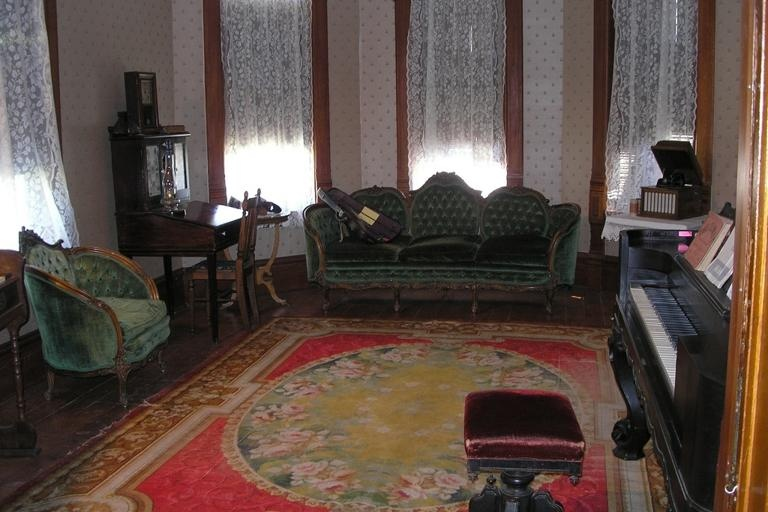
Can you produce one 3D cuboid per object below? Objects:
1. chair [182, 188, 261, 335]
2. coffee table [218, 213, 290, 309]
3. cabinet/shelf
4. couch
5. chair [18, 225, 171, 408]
[{"bbox_3d":[-1.849,0.118,6.240,0.765,1.390,0.774,0,0,3],"label":"chair"},{"bbox_3d":[-1.622,-0.004,7.016,0.920,1.061,0.912,6,8,20],"label":"coffee table"},{"bbox_3d":[-2.260,-0.609,6.233,1.276,2.467,1.371,4,13,19],"label":"cabinet/shelf"},{"bbox_3d":[0.695,-0.125,7.000,3.248,1.718,1.069,0,7,18],"label":"couch"},{"bbox_3d":[-2.476,0.471,4.917,1.025,1.229,1.055,9,16,22],"label":"chair"}]
